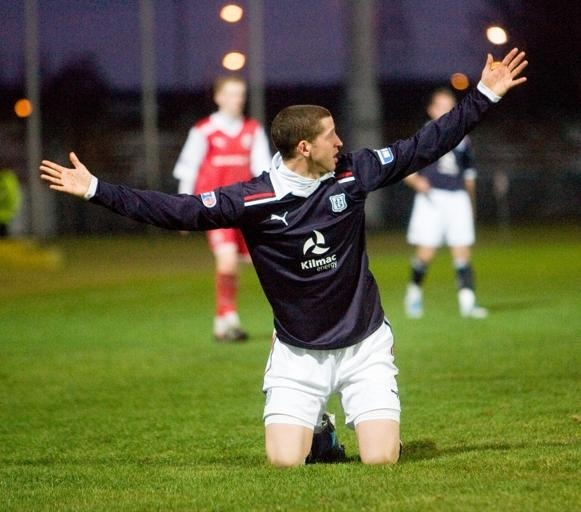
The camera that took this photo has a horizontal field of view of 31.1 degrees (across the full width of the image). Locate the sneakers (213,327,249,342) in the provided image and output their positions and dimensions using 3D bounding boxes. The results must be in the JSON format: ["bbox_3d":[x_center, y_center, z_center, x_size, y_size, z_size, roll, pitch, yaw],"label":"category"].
[{"bbox_3d":[-0.452,0.605,7.916,0.197,0.066,0.114,-9,-5,22],"label":"sneakers"}]

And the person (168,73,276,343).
[{"bbox_3d":[-0.532,-0.355,8.067,0.816,2.024,0.743,-1,5,-10],"label":"person"}]
